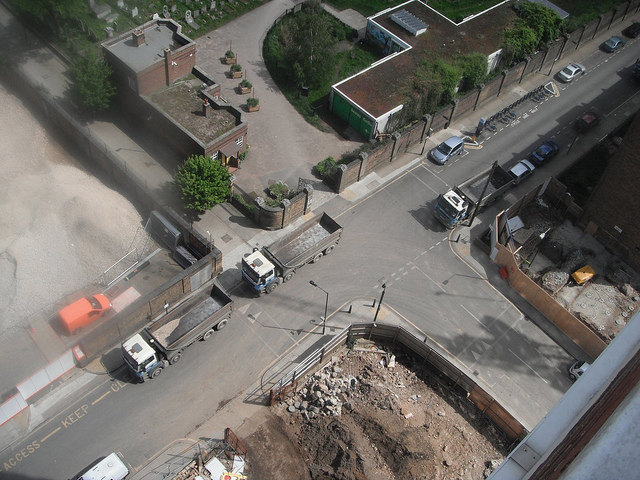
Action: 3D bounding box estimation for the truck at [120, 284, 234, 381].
[{"bbox_3d":[-16.274,10.698,85.592,13.296,5.104,4.782,-35,50,-26],"label":"truck"}]

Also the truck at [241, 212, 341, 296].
[{"bbox_3d":[-3.582,1.544,92.661,13.145,4.695,4.958,-34,48,-27],"label":"truck"}]

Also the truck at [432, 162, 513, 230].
[{"bbox_3d":[21.347,-6.333,102.424,11.561,4.168,4.730,-32,57,-22],"label":"truck"}]
